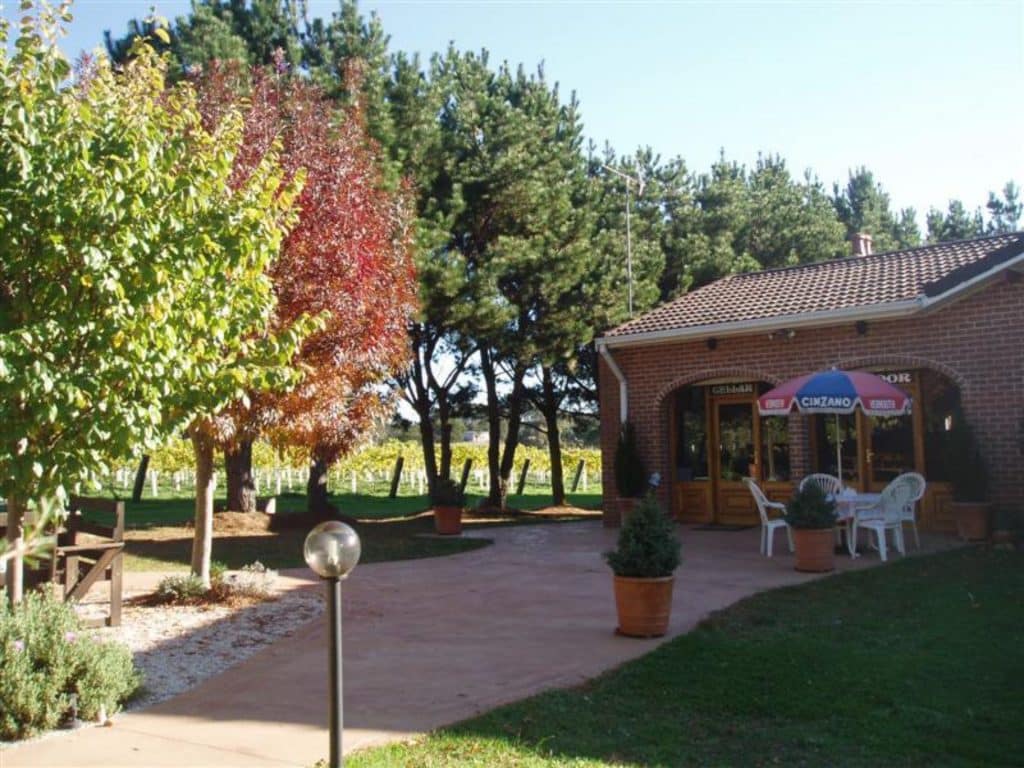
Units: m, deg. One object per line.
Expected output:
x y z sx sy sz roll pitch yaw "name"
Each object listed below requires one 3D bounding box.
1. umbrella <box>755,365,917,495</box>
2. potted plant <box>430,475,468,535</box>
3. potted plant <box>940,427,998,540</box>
5.461 0.882 15.927 2.359 2.478 2.624 -1 -1 23 "umbrella"
-1.487 2.929 21.148 0.873 1.272 0.833 -1 -34 -5 "potted plant"
7.896 1.646 16.350 0.723 2.009 0.805 -2 2 -33 "potted plant"
